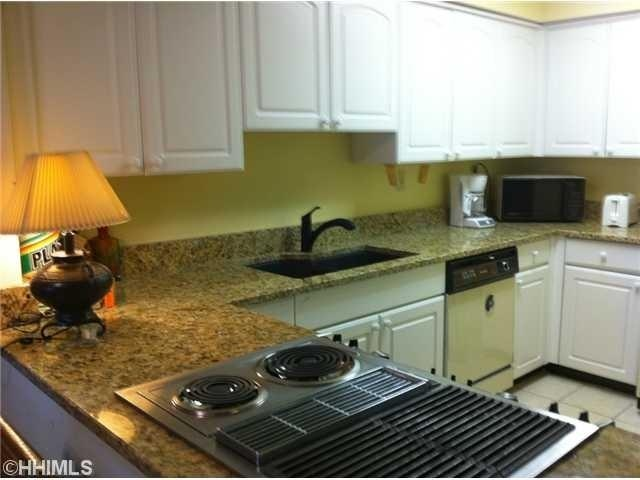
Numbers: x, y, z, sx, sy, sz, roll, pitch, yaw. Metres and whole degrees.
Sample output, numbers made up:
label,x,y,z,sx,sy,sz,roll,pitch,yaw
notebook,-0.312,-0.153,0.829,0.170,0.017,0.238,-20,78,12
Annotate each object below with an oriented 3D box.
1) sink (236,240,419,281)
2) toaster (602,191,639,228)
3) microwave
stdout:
label,x,y,z,sx,sy,sz,roll,pitch,yaw
sink,0.059,0.134,2.773,0.969,0.129,0.357,-7,13,-16
toaster,2.192,-0.215,3.414,0.253,0.226,0.259,5,9,43
microwave,1.698,-0.298,3.525,0.595,0.339,0.383,1,8,11
